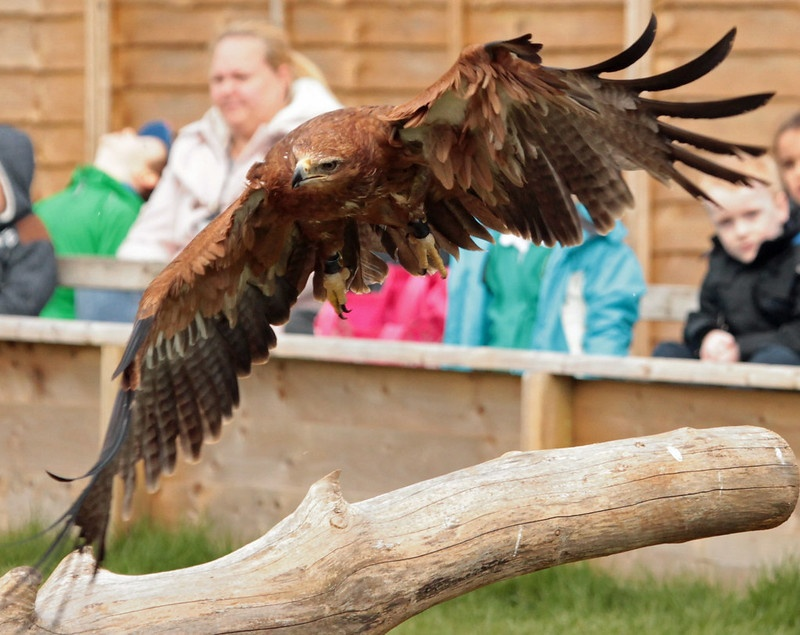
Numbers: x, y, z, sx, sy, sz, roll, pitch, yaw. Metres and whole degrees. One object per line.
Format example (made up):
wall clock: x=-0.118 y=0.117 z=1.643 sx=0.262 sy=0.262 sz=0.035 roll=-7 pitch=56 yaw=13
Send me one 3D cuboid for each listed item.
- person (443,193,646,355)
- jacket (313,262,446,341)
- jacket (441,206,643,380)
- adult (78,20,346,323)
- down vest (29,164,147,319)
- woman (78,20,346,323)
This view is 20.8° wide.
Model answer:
person: x=0.643 y=-0.198 z=9.989 sx=0.679 sy=0.603 sz=0.378 roll=-2 pitch=-36 yaw=35
jacket: x=-0.082 y=-0.073 z=10.916 sx=0.576 sy=0.561 sz=0.370 roll=0 pitch=1 yaw=20
jacket: x=0.646 y=-0.111 z=9.984 sx=0.726 sy=0.662 sz=0.405 roll=1 pitch=-24 yaw=35
adult: x=-0.868 y=-0.625 z=10.711 sx=1.190 sy=1.712 sz=1.217 roll=7 pitch=17 yaw=30
down vest: x=-1.533 y=-0.393 z=10.487 sx=0.638 sy=0.593 sz=0.330 roll=7 pitch=24 yaw=7
woman: x=-1.044 y=-0.829 z=10.917 sx=1.129 sy=1.668 sz=1.125 roll=2 pitch=39 yaw=-32
